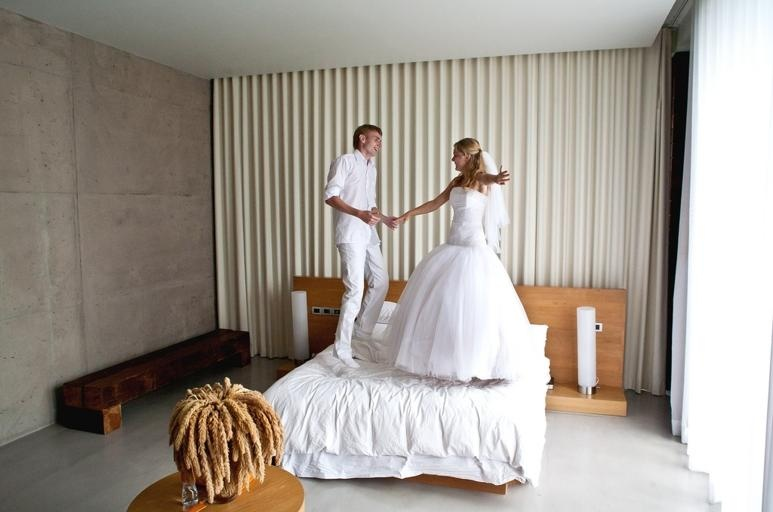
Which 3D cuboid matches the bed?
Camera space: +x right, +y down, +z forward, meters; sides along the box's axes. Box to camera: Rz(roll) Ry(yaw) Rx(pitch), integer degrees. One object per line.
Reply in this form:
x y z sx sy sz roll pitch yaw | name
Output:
0.277 1.091 4.983 1.756 0.501 1.798 2 25 1 | bed

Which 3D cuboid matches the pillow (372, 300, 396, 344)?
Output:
-0.022 0.683 5.678 0.241 0.331 0.081 -10 -42 37 | pillow
